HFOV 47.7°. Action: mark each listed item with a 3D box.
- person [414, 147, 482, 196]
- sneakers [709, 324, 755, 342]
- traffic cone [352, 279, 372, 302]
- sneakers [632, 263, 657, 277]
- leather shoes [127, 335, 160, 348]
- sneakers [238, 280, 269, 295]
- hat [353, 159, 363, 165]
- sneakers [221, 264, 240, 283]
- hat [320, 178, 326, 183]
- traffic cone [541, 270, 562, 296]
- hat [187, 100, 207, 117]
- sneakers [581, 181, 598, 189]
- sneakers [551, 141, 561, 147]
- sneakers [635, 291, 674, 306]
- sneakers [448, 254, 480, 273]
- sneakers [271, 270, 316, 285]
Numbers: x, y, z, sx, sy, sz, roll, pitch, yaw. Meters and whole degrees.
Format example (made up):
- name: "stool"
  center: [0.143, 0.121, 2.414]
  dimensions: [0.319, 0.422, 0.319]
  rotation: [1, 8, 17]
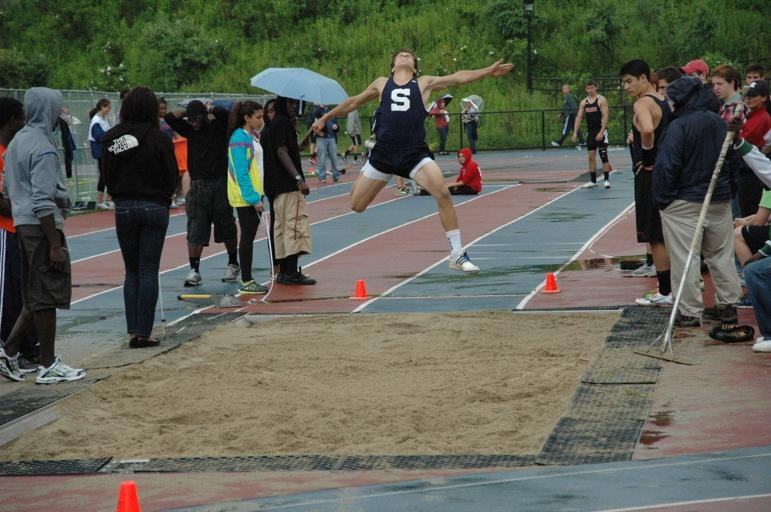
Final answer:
- name: "person"
  center: [1.494, -2.019, 20.865]
  dimensions: [1.684, 0.928, 0.655]
  rotation: [-7, 14, -15]
- name: "sneakers"
  center: [3.515, 0.784, 8.890]
  dimensions: [0.334, 0.090, 0.211]
  rotation: [3, 4, 1]
- name: "traffic cone"
  center: [-0.318, 0.448, 11.584]
  dimensions: [0.308, 0.216, 0.252]
  rotation: [2, 11, 10]
- name: "sneakers"
  center: [3.486, 0.191, 11.792]
  dimensions: [0.274, 0.101, 0.325]
  rotation: [2, 0, 28]
- name: "leather shoes"
  center: [-2.678, 0.954, 9.759]
  dimensions: [0.374, 0.118, 0.119]
  rotation: [-1, 5, -9]
- name: "sneakers"
  center: [-1.823, 0.424, 12.114]
  dimensions: [0.495, 0.186, 0.167]
  rotation: [0, 4, -1]
- name: "hat"
  center: [-1.062, -3.643, 33.802]
  dimensions: [0.266, 0.248, 0.737]
  rotation: [-2, -2, -8]
- name: "sneakers"
  center: [-2.298, 0.258, 13.010]
  dimensions: [0.174, 0.147, 0.373]
  rotation: [2, 4, 0]
- name: "hat"
  center: [-1.870, -2.273, 26.000]
  dimensions: [0.136, 0.114, 0.292]
  rotation: [-5, -7, -4]
- name: "traffic cone"
  center: [2.145, 0.364, 11.323]
  dimensions: [0.315, 0.218, 0.263]
  rotation: [0, 6, 9]
- name: "hat"
  center: [-2.602, -2.050, 12.167]
  dimensions: [0.256, 0.203, 0.283]
  rotation: [-4, -13, -6]
- name: "sneakers"
  center: [5.018, -1.764, 21.624]
  dimensions: [0.478, 0.154, 0.153]
  rotation: [1, 13, 7]
- name: "sneakers"
  center: [7.228, -4.773, 37.092]
  dimensions: [0.414, 0.145, 0.140]
  rotation: [-4, 11, -38]
- name: "sneakers"
  center: [3.126, 0.499, 10.251]
  dimensions: [0.443, 0.144, 0.145]
  rotation: [3, 3, 16]
- name: "sneakers"
  center: [1.002, 0.091, 11.023]
  dimensions: [0.502, 0.196, 0.192]
  rotation: [3, 8, 41]
- name: "sneakers"
  center: [-1.316, 0.307, 12.538]
  dimensions: [0.598, 0.177, 0.203]
  rotation: [-1, 2, -1]
